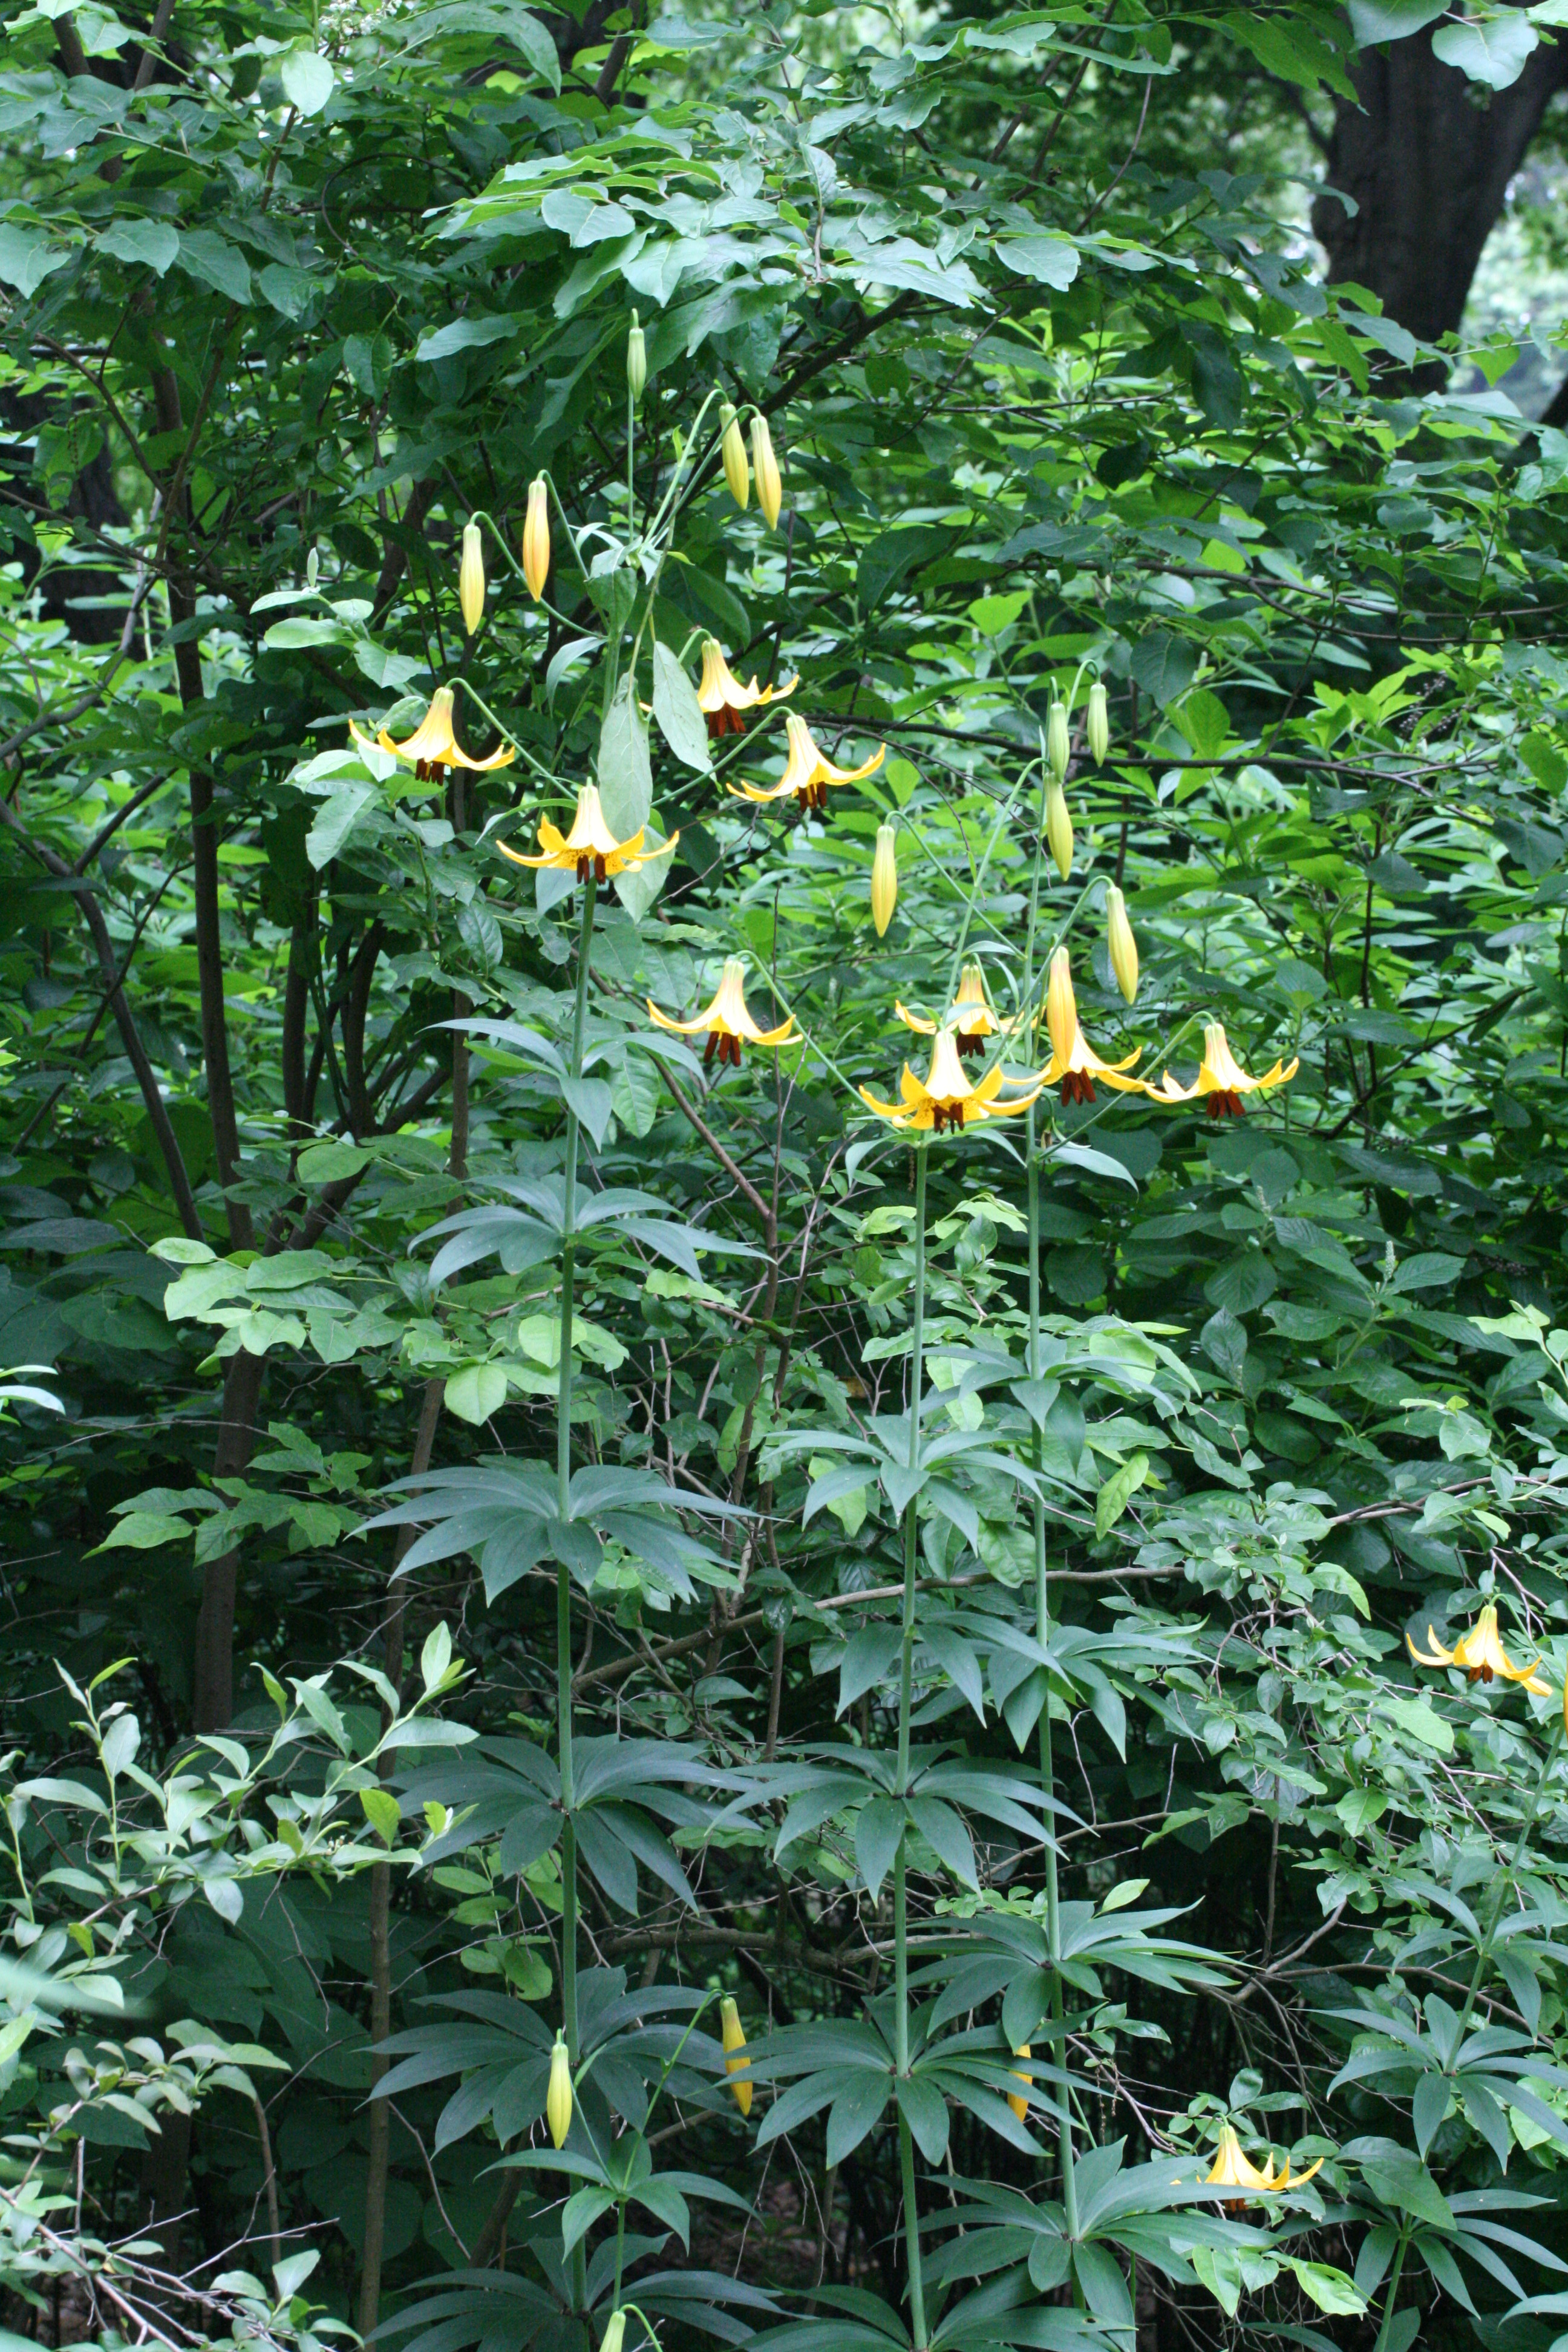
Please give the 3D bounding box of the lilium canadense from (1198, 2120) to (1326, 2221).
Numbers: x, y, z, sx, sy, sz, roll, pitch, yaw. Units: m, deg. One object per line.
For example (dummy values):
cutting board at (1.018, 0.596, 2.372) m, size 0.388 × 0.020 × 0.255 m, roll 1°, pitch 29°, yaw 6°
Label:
lilium canadense at (0.533, 1.119, 2.617) m, size 0.127 × 0.061 × 0.140 m, roll -18°, pitch -14°, yaw 21°

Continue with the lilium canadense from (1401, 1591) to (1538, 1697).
lilium canadense at (0.799, 0.551, 2.728) m, size 0.173 × 0.064 × 0.149 m, roll 10°, pitch -8°, yaw -5°

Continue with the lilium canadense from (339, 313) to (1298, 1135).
lilium canadense at (0.022, -0.478, 2.498) m, size 0.925 × 0.792 × 0.717 m, roll 13°, pitch 19°, yaw 20°
